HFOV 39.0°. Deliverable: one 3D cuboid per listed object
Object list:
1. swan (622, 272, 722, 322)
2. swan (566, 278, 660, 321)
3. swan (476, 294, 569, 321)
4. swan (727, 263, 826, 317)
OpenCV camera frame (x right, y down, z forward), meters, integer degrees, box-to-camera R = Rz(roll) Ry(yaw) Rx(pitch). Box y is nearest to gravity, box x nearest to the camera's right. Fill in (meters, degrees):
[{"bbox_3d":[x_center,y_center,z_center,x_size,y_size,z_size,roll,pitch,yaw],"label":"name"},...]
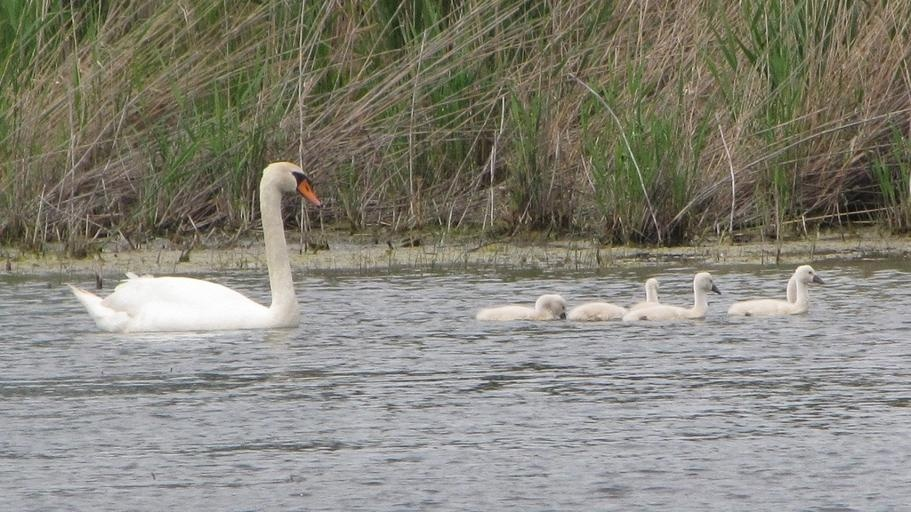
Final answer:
[{"bbox_3d":[2.302,0.560,13.837,1.110,0.752,0.397,-1,-13,-7],"label":"swan"},{"bbox_3d":[1.713,0.468,13.773,1.062,0.335,0.462,-6,11,-22],"label":"swan"},{"bbox_3d":[0.693,0.551,13.677,0.967,0.271,0.229,-3,10,-3],"label":"swan"},{"bbox_3d":[3.526,0.361,14.158,1.205,0.863,0.433,-3,7,-2],"label":"swan"}]
